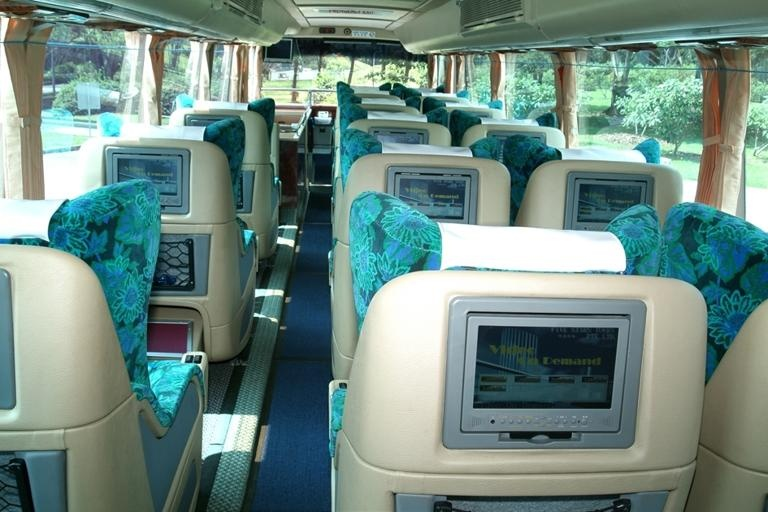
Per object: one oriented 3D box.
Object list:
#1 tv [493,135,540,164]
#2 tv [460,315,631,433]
[{"bbox_3d":[0.857,-0.663,3.937,0.312,0.102,0.260,0,33,1],"label":"tv"},{"bbox_3d":[0.427,0.316,1.634,0.332,0.242,0.034,2,10,-3],"label":"tv"}]
